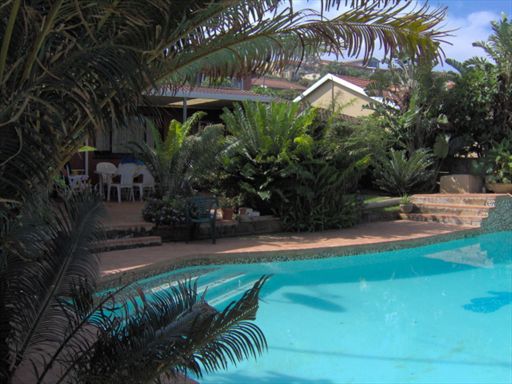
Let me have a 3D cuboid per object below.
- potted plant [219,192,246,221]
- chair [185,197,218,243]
[{"bbox_3d":[-0.535,0.391,10.067,0.867,0.861,0.623,2,-7,-16],"label":"potted plant"},{"bbox_3d":[-1.268,0.578,8.692,0.936,1.311,0.967,0,2,-3],"label":"chair"}]
